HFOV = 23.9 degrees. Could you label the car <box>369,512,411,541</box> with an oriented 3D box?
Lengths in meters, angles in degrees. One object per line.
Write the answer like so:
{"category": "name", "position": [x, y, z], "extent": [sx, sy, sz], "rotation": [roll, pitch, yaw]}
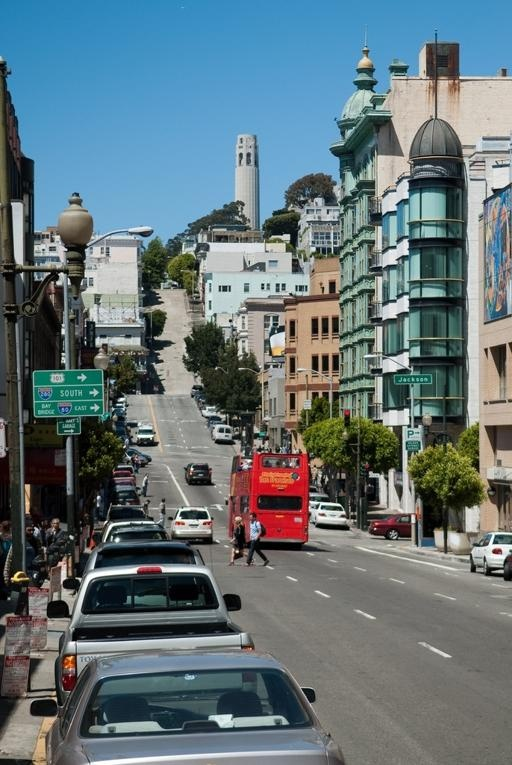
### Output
{"category": "car", "position": [6.285, 6.685, 55.977], "extent": [2.149, 1.168, 0.833], "rotation": [2, -3, -30]}

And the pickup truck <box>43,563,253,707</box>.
{"category": "pickup truck", "position": [-0.910, 2.284, 10.737], "extent": [1.473, 1.566, 3.295], "rotation": [0, -4, -8]}

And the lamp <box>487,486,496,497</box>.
{"category": "lamp", "position": [10.264, 4.735, 52.675], "extent": [0.264, 0.483, 0.417], "rotation": [0, -5, 0]}

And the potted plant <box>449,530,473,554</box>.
{"category": "potted plant", "position": [7.446, 5.898, 44.313], "extent": [0.660, 0.736, 0.817], "rotation": [-4, -6, 38]}

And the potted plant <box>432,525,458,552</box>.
{"category": "potted plant", "position": [7.219, 5.963, 45.815], "extent": [0.635, 0.623, 0.735], "rotation": [2, -8, -11]}
